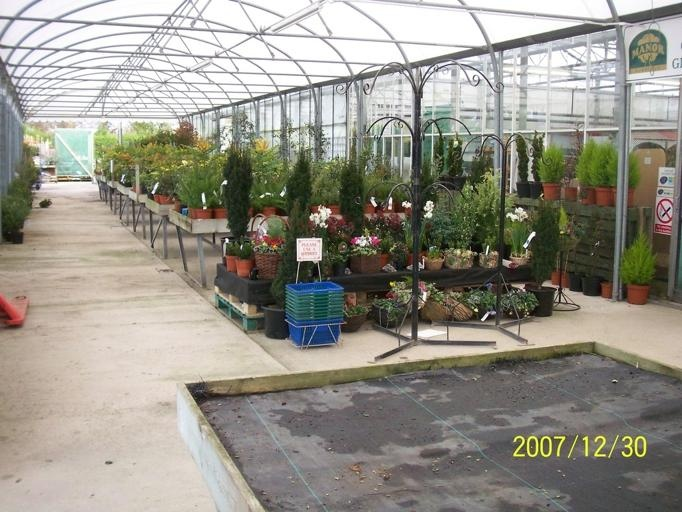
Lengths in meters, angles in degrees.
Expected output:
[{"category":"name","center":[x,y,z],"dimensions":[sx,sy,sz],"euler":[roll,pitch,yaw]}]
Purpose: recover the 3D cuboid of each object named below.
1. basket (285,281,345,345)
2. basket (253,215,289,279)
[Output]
[{"category":"basket","center":[-0.294,0.551,5.774],"dimensions":[0.758,0.847,0.612],"euler":[-1,4,-18]},{"category":"basket","center":[-0.877,-0.117,6.242],"dimensions":[0.430,0.707,0.519],"euler":[16,10,20]}]
